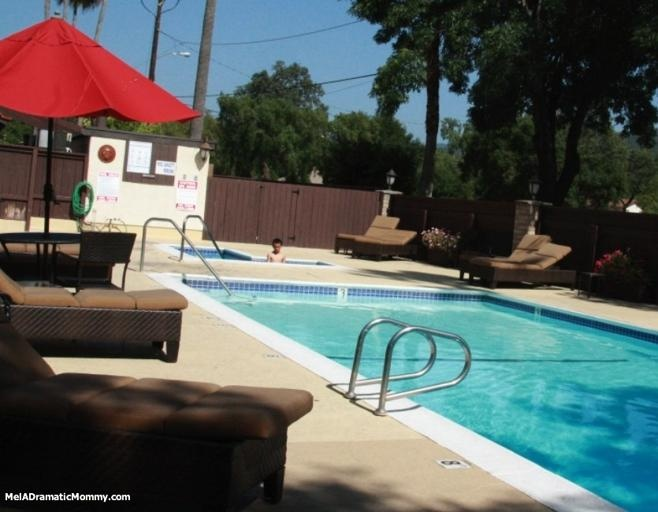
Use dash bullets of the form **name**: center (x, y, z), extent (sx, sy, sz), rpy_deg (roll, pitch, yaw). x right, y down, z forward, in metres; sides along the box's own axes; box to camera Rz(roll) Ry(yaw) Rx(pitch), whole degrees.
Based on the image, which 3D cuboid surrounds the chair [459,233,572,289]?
- **chair**: center (4.372, 0.178, 13.177), extent (1.381, 0.963, 1.786), rpy_deg (2, -1, -6)

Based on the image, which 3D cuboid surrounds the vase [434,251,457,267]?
- **vase**: center (3.370, 0.073, 16.929), extent (0.381, 0.510, 0.702), rpy_deg (0, 5, -37)

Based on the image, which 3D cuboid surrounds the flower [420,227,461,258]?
- **flower**: center (3.436, -0.419, 17.167), extent (0.757, 0.610, 0.987), rpy_deg (-1, 7, -26)

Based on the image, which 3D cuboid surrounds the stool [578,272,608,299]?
- **stool**: center (5.771, 0.599, 13.049), extent (0.509, 0.671, 0.678), rpy_deg (3, 5, -2)

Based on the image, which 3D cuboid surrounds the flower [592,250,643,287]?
- **flower**: center (6.213, 0.221, 12.489), extent (0.688, 0.555, 0.700), rpy_deg (-4, 9, 32)

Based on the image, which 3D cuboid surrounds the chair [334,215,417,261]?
- **chair**: center (1.462, -0.604, 17.859), extent (1.694, 1.106, 1.858), rpy_deg (-1, 10, -38)
